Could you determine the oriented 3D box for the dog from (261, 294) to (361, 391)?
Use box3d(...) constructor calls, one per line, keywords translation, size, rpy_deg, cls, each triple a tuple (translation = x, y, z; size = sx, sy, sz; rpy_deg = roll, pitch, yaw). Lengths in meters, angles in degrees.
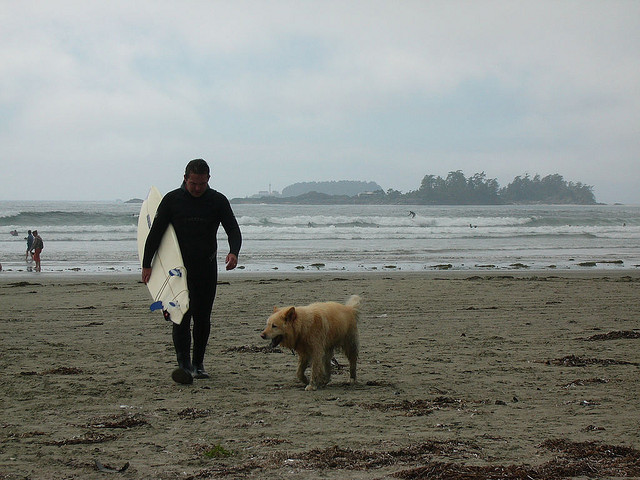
box3d(translation=(-0.023, 1.366, 11.893), size=(1.487, 1.082, 0.694), rpy_deg=(-6, 12, -31), cls="dog")
